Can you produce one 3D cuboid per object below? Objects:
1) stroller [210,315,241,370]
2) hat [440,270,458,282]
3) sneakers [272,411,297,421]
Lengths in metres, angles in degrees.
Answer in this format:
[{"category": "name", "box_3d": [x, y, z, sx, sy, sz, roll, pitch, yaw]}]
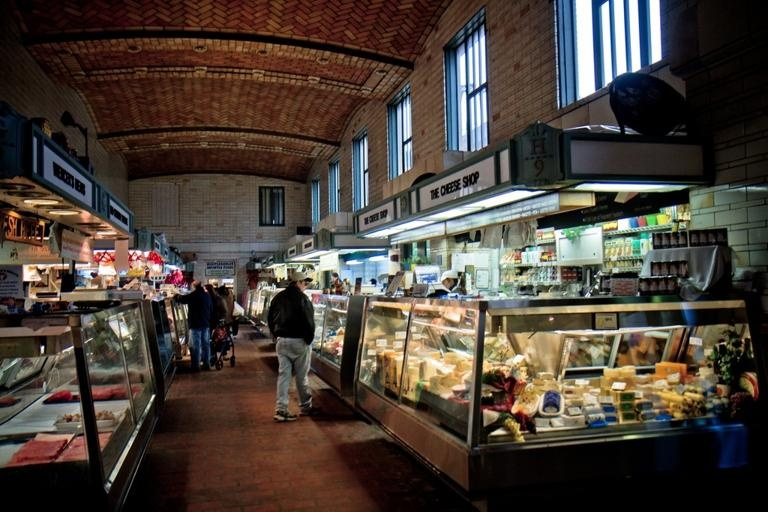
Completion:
[{"category": "stroller", "box_3d": [-3.091, 1.666, 10.722, 0.820, 1.235, 0.721, 3, -7, -15]}, {"category": "hat", "box_3d": [1.037, 0.301, 8.601, 0.213, 0.113, 0.149, 0, -8, 0]}, {"category": "sneakers", "box_3d": [-1.218, 1.964, 6.871, 0.300, 0.133, 0.116, 2, -2, -18]}]
